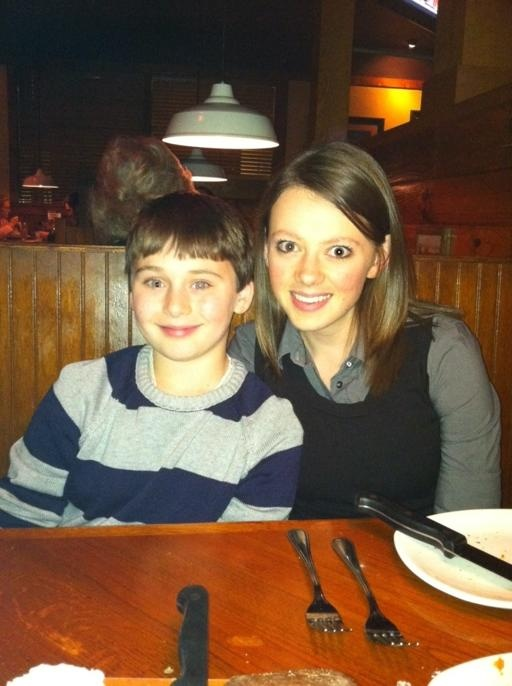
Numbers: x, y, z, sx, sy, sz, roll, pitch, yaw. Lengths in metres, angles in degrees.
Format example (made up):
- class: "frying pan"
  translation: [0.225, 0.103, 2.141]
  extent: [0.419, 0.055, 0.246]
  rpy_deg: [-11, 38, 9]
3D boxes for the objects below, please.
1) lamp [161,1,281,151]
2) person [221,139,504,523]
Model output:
- class: "lamp"
  translation: [-0.182, -1.266, 3.133]
  extent: [0.626, 0.471, 0.554]
  rpy_deg: [-1, 12, -16]
- class: "person"
  translation: [0.225, 0.033, 1.534]
  extent: [0.696, 0.898, 0.519]
  rpy_deg: [3, 7, 22]
